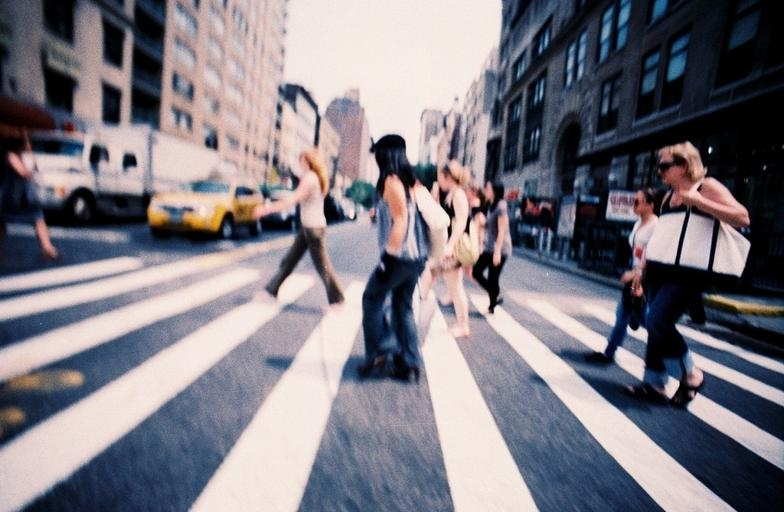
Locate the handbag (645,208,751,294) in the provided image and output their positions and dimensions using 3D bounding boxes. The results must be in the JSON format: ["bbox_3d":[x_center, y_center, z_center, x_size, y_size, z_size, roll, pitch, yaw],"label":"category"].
[{"bbox_3d":[3.865,-0.357,5.741,0.373,0.919,0.896,-21,14,-10],"label":"handbag"}]

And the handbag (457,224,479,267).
[{"bbox_3d":[1.158,-0.154,6.968,0.209,0.580,0.333,0,-15,8],"label":"handbag"}]

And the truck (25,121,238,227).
[{"bbox_3d":[-7.567,-2.702,15.484,2.218,3.202,7.459,3,3,10],"label":"truck"}]

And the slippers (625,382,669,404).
[{"bbox_3d":[3.271,1.765,5.847,0.388,0.175,0.149,14,22,36],"label":"slippers"}]

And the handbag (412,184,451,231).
[{"bbox_3d":[0.630,-0.682,6.072,0.121,0.325,0.437,-24,22,31],"label":"handbag"}]
